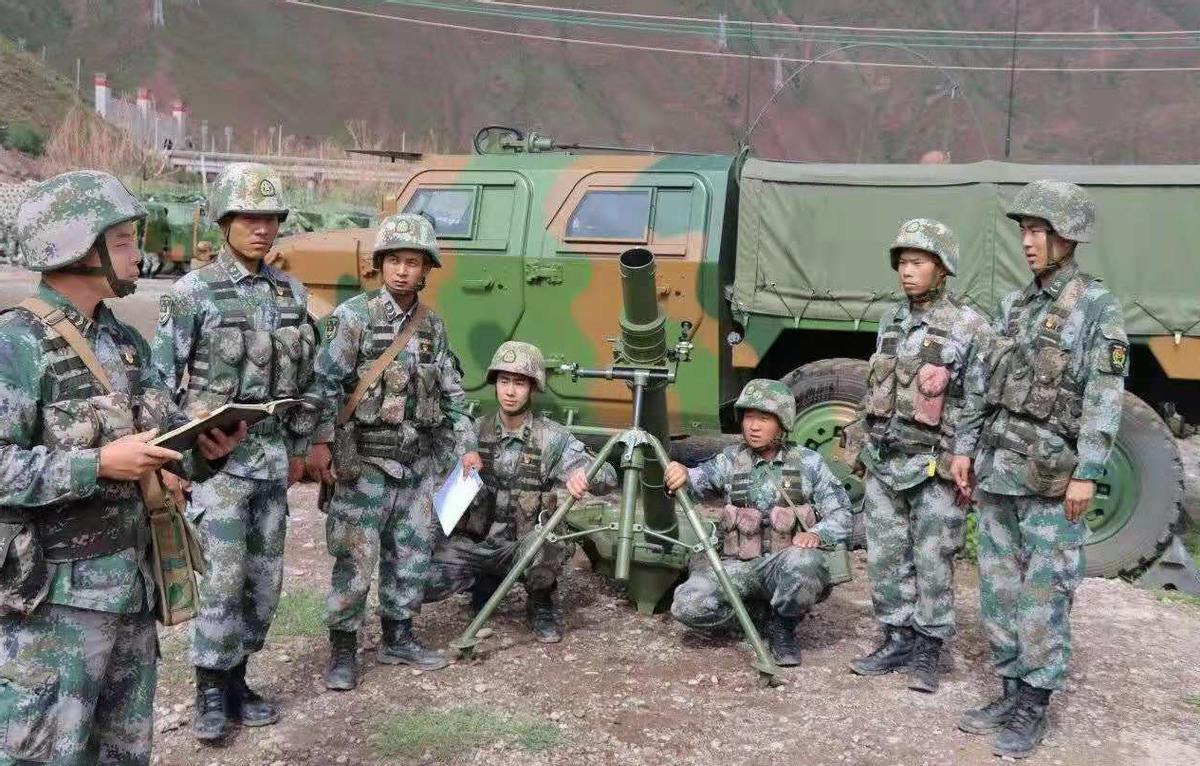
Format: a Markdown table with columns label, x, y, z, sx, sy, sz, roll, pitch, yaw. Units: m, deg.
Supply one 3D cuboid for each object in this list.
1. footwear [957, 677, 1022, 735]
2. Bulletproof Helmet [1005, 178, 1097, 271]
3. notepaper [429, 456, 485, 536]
| label | x | y | z | sx | sy | sz | roll | pitch | yaw |
| --- | --- | --- | --- | --- | --- | --- | --- | --- | --- |
| footwear | 2.106 | 1.772 | 6.251 | 0.432 | 0.286 | 0.178 | 3 | 1 | -7 |
| Bulletproof Helmet | 2.376 | -0.821 | 6.004 | 0.493 | 0.526 | 0.405 | 5 | 5 | 1 |
| notepaper | -0.849 | 0.652 | 6.664 | 0.043 | 0.383 | 0.385 | 23 | 24 | -30 |
